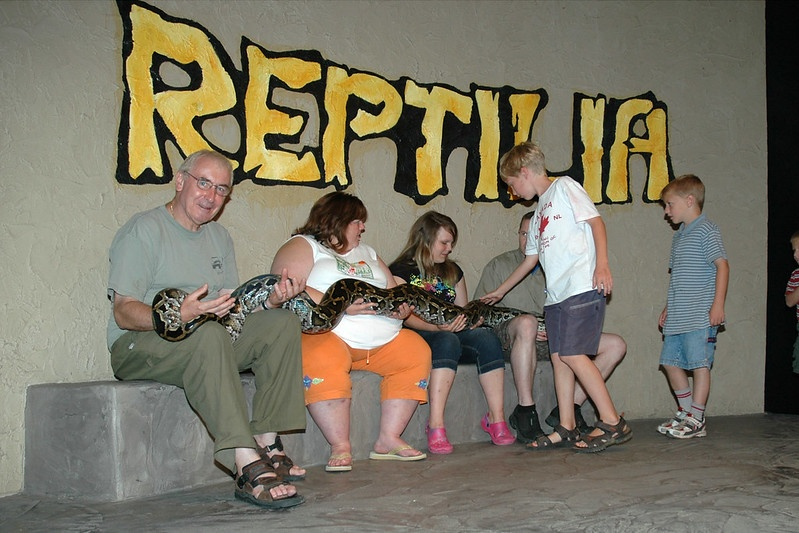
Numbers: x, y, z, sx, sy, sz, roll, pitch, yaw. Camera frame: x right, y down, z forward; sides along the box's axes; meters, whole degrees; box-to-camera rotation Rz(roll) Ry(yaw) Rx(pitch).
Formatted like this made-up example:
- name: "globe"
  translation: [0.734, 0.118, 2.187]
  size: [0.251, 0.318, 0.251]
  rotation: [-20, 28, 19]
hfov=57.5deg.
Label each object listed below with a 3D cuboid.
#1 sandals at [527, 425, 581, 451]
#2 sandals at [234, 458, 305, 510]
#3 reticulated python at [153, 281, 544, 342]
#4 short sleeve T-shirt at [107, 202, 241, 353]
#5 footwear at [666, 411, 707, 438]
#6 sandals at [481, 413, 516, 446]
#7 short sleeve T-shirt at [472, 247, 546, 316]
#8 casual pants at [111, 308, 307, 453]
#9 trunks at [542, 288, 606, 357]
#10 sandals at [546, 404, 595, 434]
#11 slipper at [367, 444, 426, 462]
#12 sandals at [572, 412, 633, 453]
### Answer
- name: "sandals"
  translation: [1.420, 1.563, 6.628]
  size: [0.547, 0.228, 0.191]
  rotation: [3, -4, -15]
- name: "sandals"
  translation: [-0.977, 1.583, 5.337]
  size: [0.542, 0.244, 0.250]
  rotation: [-1, -1, 35]
- name: "reticulated python"
  translation: [-0.497, 0.390, 6.123]
  size: [2.159, 0.177, 0.414]
  rotation: [5, 30, -20]
- name: "short sleeve T-shirt"
  translation: [-1.761, 0.119, 5.661]
  size: [1.333, 1.125, 0.729]
  rotation: [2, 1, -43]
- name: "footwear"
  translation: [2.795, 1.535, 6.974]
  size: [0.382, 0.188, 0.179]
  rotation: [2, -4, -20]
- name: "sandals"
  translation: [0.926, 1.532, 6.704]
  size: [0.153, 0.129, 0.366]
  rotation: [-1, -1, -21]
- name: "short sleeve T-shirt"
  translation: [1.157, 0.180, 7.479]
  size: [0.627, 0.425, 0.211]
  rotation: [19, 0, -22]
- name: "casual pants"
  translation: [-1.273, 0.806, 5.456]
  size: [1.163, 0.594, 1.139]
  rotation: [-2, 17, -29]
- name: "trunks"
  translation: [1.609, 0.470, 6.664]
  size: [0.408, 0.641, 0.677]
  rotation: [-4, 4, -13]
- name: "sandals"
  translation: [1.652, 1.470, 7.010]
  size: [0.606, 0.261, 0.203]
  rotation: [1, 0, -16]
- name: "slipper"
  translation: [0.006, 1.570, 6.221]
  size: [0.367, 0.098, 0.170]
  rotation: [-2, -5, 16]
- name: "sandals"
  translation: [1.812, 1.484, 6.506]
  size: [0.584, 0.272, 0.218]
  rotation: [-14, 2, -17]
